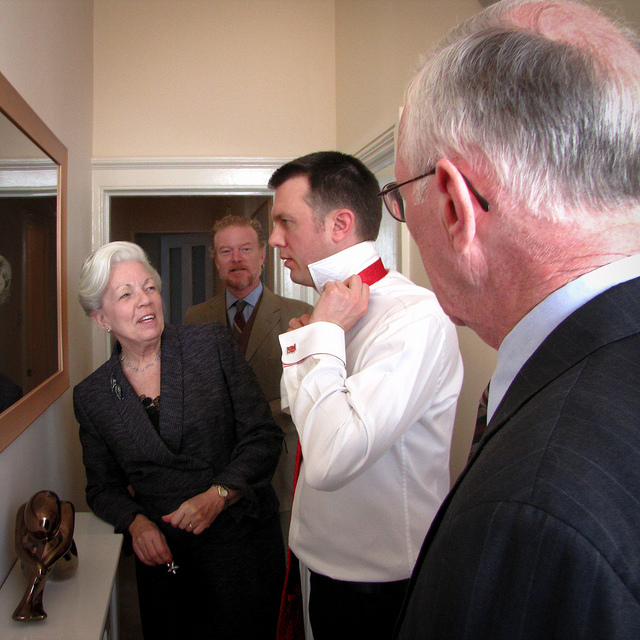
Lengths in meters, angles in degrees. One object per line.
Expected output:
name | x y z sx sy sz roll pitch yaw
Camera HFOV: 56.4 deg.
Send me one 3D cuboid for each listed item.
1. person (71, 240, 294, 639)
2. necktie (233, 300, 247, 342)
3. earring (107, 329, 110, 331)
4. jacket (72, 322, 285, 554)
person | -0.415 0.349 1.835 0.630 1.154 0.541 -3 8 -25
necktie | -0.371 0.004 2.760 0.053 0.197 0.020 10 -29 -12
earring | -0.705 0.033 1.989 0.007 0.008 0.007 -18 -18 20
jacket | -0.451 0.374 1.835 0.559 0.711 0.438 -14 13 -7
